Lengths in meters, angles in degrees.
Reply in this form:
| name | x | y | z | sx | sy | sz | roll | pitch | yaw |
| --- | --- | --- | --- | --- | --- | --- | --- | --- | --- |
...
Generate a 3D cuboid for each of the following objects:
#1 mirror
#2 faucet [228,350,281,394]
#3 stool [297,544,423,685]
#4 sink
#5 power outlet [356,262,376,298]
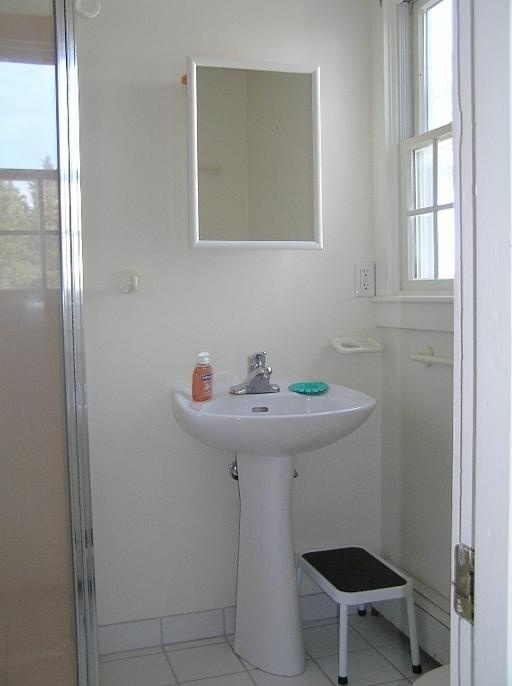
| name | x | y | z | sx | sy | sz | roll | pitch | yaw |
| --- | --- | --- | --- | --- | --- | --- | --- | --- | --- |
| mirror | -0.019 | -0.521 | 1.559 | 0.346 | 0.625 | 0.035 | -1 | 1 | -12 |
| faucet | 0.003 | 0.079 | 1.596 | 0.114 | 0.122 | 0.085 | -1 | 3 | -11 |
| stool | 0.271 | 0.614 | 1.540 | 0.200 | 0.275 | 0.342 | 0 | -1 | -14 |
| sink | 0.042 | 0.204 | 1.483 | 0.502 | 0.138 | 0.347 | -3 | 9 | -11 |
| power outlet | 0.306 | -0.181 | 1.624 | 0.065 | 0.139 | 0.014 | 0 | 4 | 0 |
